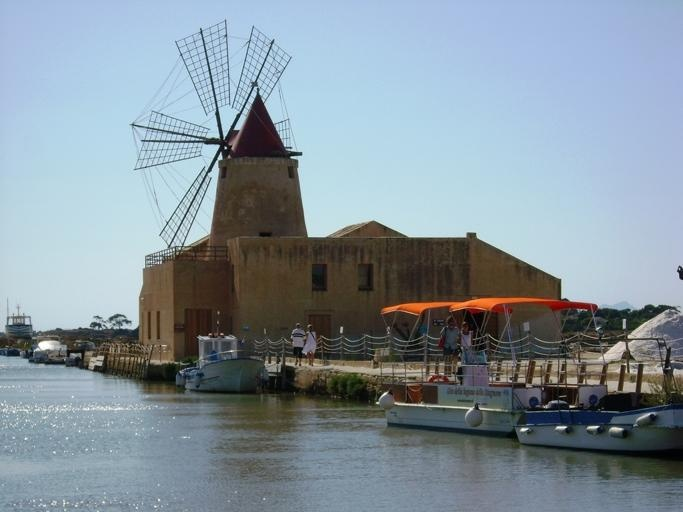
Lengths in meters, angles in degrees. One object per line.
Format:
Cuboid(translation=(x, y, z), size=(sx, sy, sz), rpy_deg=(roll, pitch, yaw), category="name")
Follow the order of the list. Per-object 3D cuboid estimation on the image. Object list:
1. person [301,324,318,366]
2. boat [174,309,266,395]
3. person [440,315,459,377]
Cuboid(translation=(-1.285, 3.528, 37.928), size=(0.474, 1.631, 1.636), rpy_deg=(-2, 1, -2), category="person")
Cuboid(translation=(-4.753, 4.478, 40.010), size=(1.835, 3.415, 4.829), rpy_deg=(2, -3, -25), category="boat")
Cuboid(translation=(3.219, 2.605, 28.774), size=(0.572, 1.977, 0.562), rpy_deg=(3, 33, 10), category="person")
